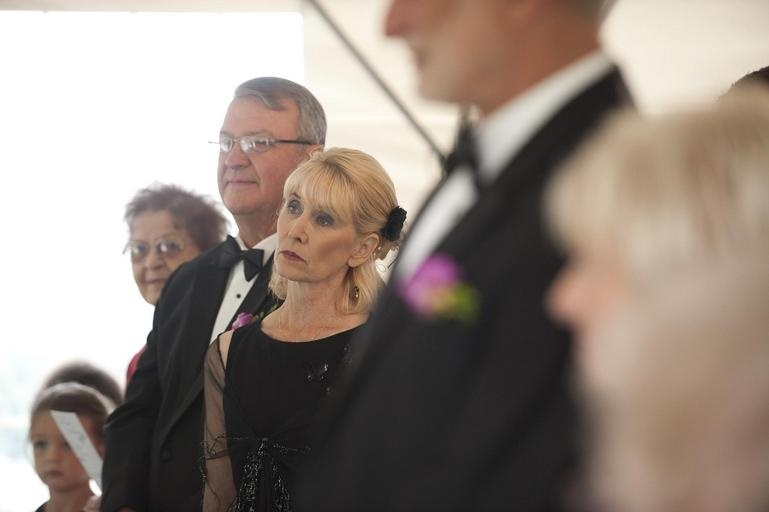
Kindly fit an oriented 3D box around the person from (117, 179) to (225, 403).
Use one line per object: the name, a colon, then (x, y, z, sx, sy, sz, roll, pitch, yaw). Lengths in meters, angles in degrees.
person: (-0.871, 0.176, 4.234, 0.309, 0.999, 0.314, 10, 22, 26)
